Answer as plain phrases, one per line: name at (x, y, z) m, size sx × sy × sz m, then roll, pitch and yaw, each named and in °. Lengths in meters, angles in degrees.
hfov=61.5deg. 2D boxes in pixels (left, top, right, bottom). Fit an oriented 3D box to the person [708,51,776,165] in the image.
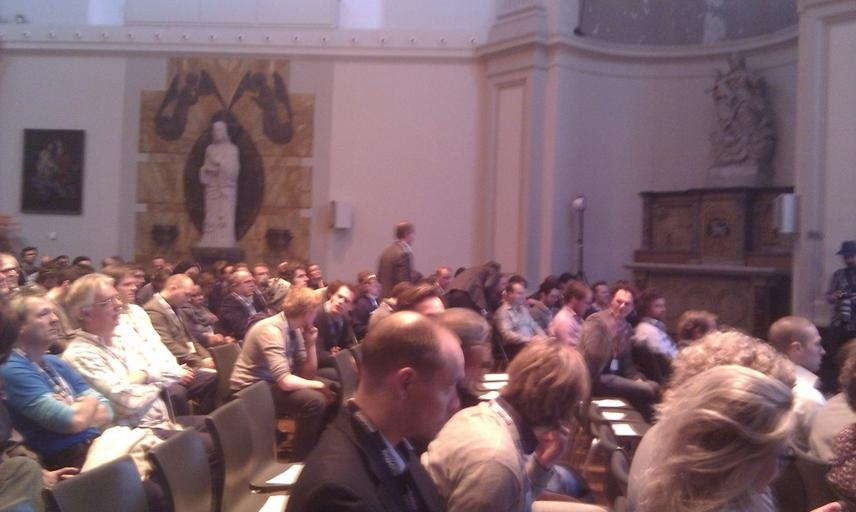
person at (5.361, -2.491, 12.287) m, size 1.057 × 1.591 × 0.364 m, roll 2°, pitch -1°, yaw 26°
